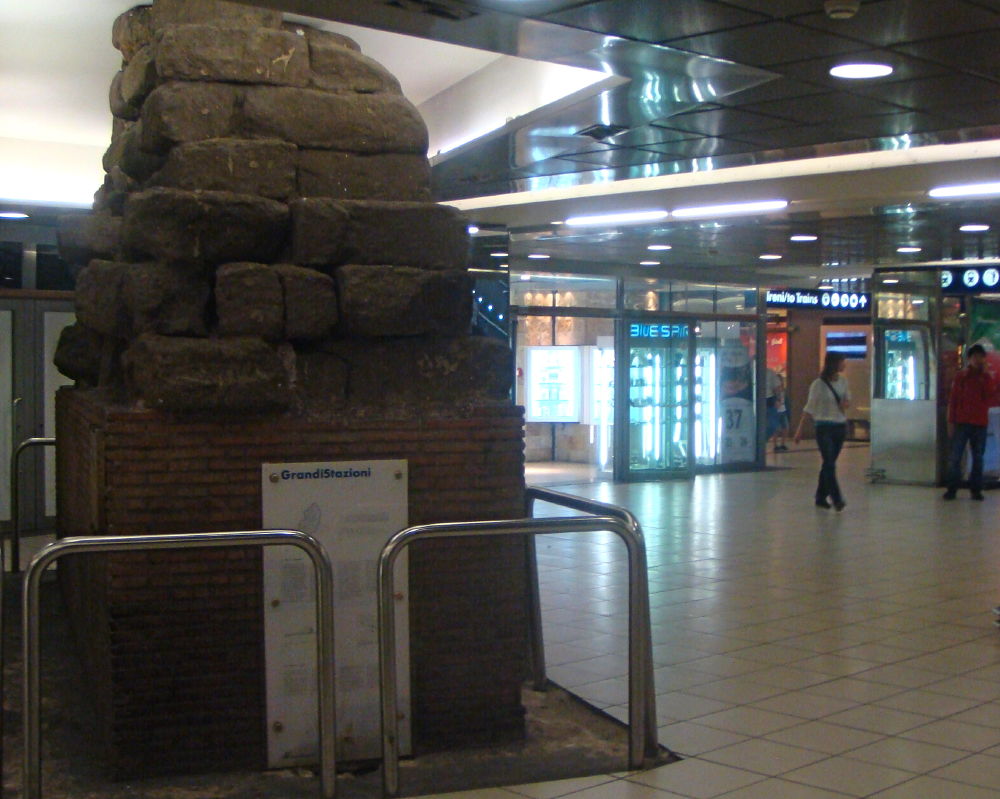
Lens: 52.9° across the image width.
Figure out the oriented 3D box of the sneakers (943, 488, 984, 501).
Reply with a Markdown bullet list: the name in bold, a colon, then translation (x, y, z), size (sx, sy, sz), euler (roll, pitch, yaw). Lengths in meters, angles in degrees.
- **sneakers**: translation (6.111, 1.250, 13.266), size (0.454, 0.114, 0.220), euler (-3, 0, -3)

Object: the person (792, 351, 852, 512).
- **person**: translation (4.111, 0.377, 12.624), size (0.524, 1.962, 1.017), euler (-1, 3, 18)
